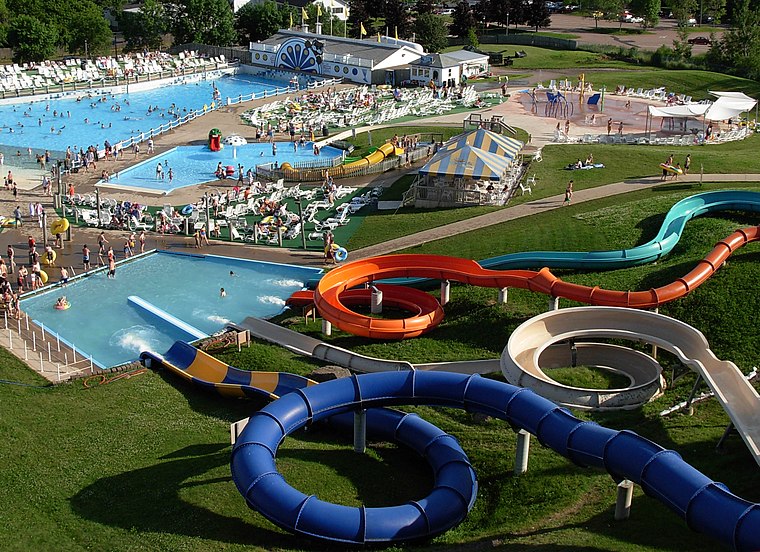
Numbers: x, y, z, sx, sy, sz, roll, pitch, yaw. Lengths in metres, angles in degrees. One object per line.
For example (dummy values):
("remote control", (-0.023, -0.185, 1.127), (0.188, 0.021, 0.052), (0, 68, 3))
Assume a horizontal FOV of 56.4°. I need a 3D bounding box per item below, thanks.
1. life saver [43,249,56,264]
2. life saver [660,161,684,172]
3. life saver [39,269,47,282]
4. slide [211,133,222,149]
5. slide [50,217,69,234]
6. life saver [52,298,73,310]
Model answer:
("life saver", (-21.794, -1.468, 47.010), (0.628, 1.008, 1.032), (-5, 24, -11))
("life saver", (22.666, -8.621, 55.138), (1.639, 0.398, 1.328), (5, 13, 1))
("life saver", (-21.140, -0.172, 44.850), (0.424, 0.730, 0.966), (-10, 24, -20))
("slide", (-16.242, -13.627, 70.440), (0.982, 1.588, 0.467), (-9, 28, -18))
("slide", (-22.114, -3.892, 49.479), (1.549, 0.433, 1.214), (-15, 49, 23))
("life saver", (-18.949, 1.564, 42.432), (1.040, 0.212, 0.787), (9, 41, -2))
